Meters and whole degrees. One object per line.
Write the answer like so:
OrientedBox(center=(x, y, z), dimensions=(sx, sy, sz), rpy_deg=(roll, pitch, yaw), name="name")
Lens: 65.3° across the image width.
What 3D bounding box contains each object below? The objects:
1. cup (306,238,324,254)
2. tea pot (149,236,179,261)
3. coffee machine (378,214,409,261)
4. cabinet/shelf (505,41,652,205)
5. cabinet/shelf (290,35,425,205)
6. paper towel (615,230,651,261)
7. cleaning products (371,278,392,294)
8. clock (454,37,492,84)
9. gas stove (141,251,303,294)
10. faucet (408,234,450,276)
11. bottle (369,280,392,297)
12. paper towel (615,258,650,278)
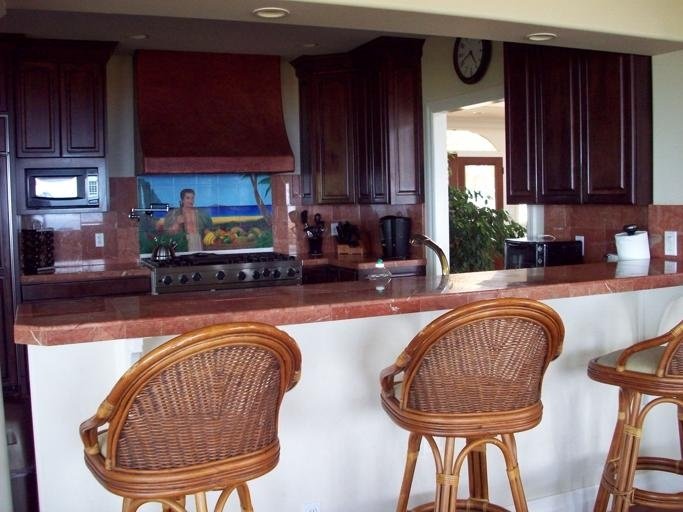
OrientedBox(center=(-0.282, -0.102, 5.714), dimensions=(0.169, 0.185, 0.151), rpy_deg=(-5, 5, -3), name="cup")
OrientedBox(center=(-1.705, -0.055, 5.168), dimensions=(0.195, 0.208, 0.299), rpy_deg=(-1, -4, 20), name="tea pot")
OrientedBox(center=(0.547, -0.181, 5.118), dimensions=(0.343, 0.407, 0.328), rpy_deg=(-5, 5, -7), name="coffee machine")
OrientedBox(center=(1.602, -0.894, 3.560), dimensions=(0.391, 1.140, 1.230), rpy_deg=(0, 2, -21), name="cabinet/shelf")
OrientedBox(center=(0.198, -1.321, 5.128), dimensions=(1.517, 1.427, 0.709), rpy_deg=(0, 1, 32), name="cabinet/shelf")
OrientedBox(center=(1.843, -0.055, 3.407), dimensions=(0.193, 0.219, 0.189), rpy_deg=(-1, -2, -39), name="paper towel")
OrientedBox(center=(0.186, 0.140, 2.527), dimensions=(0.075, 0.069, 0.062), rpy_deg=(3, -5, -24), name="cleaning products")
OrientedBox(center=(1.105, -1.672, 4.537), dimensions=(0.095, 0.426, 0.420), rpy_deg=(-8, 6, -27), name="clock")
OrientedBox(center=(-1.108, 0.146, 5.026), dimensions=(1.367, 0.335, 0.727), rpy_deg=(-7, 6, -24), name="gas stove")
OrientedBox(center=(0.571, -0.009, 3.510), dimensions=(0.204, 0.291, 0.697), rpy_deg=(-4, 5, 9), name="faucet")
OrientedBox(center=(0.181, 0.150, 2.484), dimensions=(0.077, 0.055, 0.065), rpy_deg=(6, -7, -41), name="bottle")
OrientedBox(center=(1.646, 0.066, 3.026), dimensions=(0.168, 0.029, 0.942), rpy_deg=(-2, 6, 29), name="paper towel")
